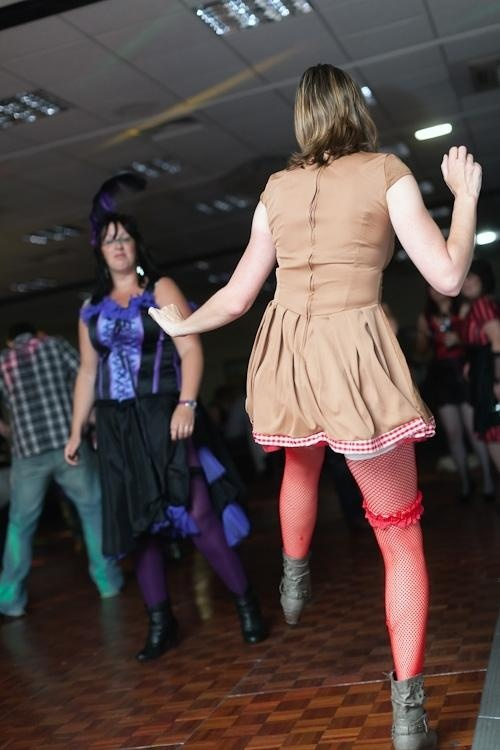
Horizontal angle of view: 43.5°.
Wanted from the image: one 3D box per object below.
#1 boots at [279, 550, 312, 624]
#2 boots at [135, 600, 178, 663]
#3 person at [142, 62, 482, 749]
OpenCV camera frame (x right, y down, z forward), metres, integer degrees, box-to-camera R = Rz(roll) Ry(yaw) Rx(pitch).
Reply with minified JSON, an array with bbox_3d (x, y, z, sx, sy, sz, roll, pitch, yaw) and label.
[{"bbox_3d":[0.096,0.448,1.313,0.062,0.149,0.118,1,-3,-7],"label":"boots"},{"bbox_3d":[-0.279,0.745,1.818,0.074,0.123,0.179,-10,1,29],"label":"boots"},{"bbox_3d":[0.180,0.044,1.130,0.369,1.139,0.546,-22,23,-22],"label":"person"}]
